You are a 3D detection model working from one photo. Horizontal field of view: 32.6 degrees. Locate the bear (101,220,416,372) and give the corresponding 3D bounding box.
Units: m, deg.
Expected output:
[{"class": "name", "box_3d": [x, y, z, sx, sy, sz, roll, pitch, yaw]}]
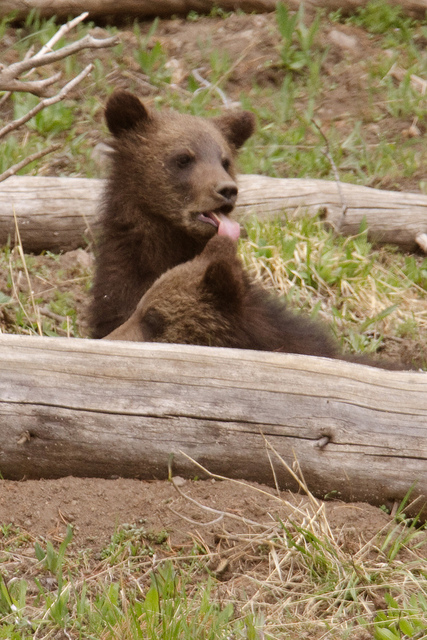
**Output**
[{"class": "bear", "box_3d": [0.264, -0.135, 4.476, 1.945, 0.931, 0.574, 12, 25, 19]}]
